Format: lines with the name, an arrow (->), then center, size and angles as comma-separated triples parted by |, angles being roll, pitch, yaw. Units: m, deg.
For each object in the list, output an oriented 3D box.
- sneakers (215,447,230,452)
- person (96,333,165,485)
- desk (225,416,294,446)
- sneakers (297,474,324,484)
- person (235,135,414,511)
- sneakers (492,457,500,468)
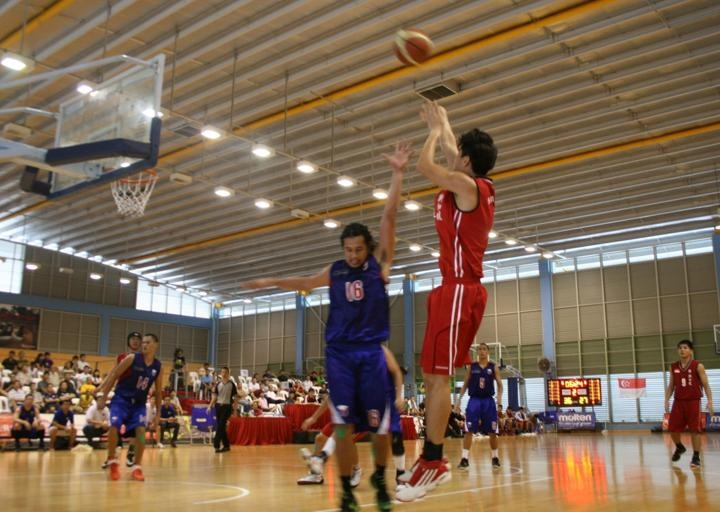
sneakers -> -3.542, 4.893, 14.068 | 0.135, 0.137, 0.367 | -11, -30, 20
person -> -3.427, 2.224, 8.289 | 0.793, 2.067, 0.809 | 5, -17, -13
desk -> -3.209, 5.624, 18.084 | 1.652, 0.472, 1.065 | 3, -6, -28
sneakers -> -0.697, 3.132, 7.823 | 0.355, 0.113, 0.168 | 4, -19, 3
person -> -0.074, 0.557, 5.209 | 1.186, 3.375, 0.459 | -6, -18, 21
sneakers -> 2.414, 3.663, 9.870 | 0.108, 0.099, 0.262 | -4, -29, 12
